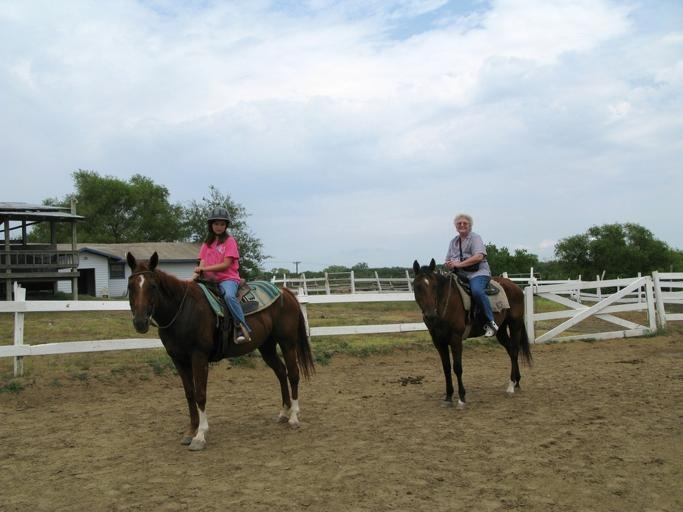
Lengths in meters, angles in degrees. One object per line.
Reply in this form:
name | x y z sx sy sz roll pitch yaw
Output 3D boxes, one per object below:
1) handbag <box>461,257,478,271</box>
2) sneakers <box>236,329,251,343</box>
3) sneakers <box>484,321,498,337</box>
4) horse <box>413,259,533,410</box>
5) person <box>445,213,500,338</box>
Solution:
handbag | 2.320 0.179 10.121 0.273 0.148 0.254 2 -5 33
sneakers | -1.473 1.167 8.224 0.241 0.212 0.164 -1 -5 -30
sneakers | 2.634 1.291 9.804 0.174 0.144 0.403 -23 -3 7
horse | 2.379 1.303 9.943 2.571 2.484 0.860 -3 6 -36
person | 2.298 0.322 10.185 0.995 2.175 0.889 -4 -2 -17
